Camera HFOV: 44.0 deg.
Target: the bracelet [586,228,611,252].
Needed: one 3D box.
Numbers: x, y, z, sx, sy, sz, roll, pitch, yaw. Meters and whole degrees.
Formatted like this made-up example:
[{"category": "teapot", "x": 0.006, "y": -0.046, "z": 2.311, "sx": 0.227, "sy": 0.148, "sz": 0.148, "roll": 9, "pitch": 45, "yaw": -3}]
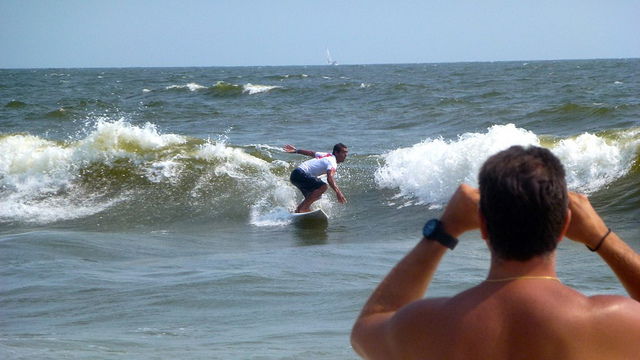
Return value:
[{"category": "bracelet", "x": 5.118, "y": 1.142, "z": 14.690, "sx": 0.446, "sy": 0.398, "sz": 0.114, "roll": -25, "pitch": 59, "yaw": -25}]
